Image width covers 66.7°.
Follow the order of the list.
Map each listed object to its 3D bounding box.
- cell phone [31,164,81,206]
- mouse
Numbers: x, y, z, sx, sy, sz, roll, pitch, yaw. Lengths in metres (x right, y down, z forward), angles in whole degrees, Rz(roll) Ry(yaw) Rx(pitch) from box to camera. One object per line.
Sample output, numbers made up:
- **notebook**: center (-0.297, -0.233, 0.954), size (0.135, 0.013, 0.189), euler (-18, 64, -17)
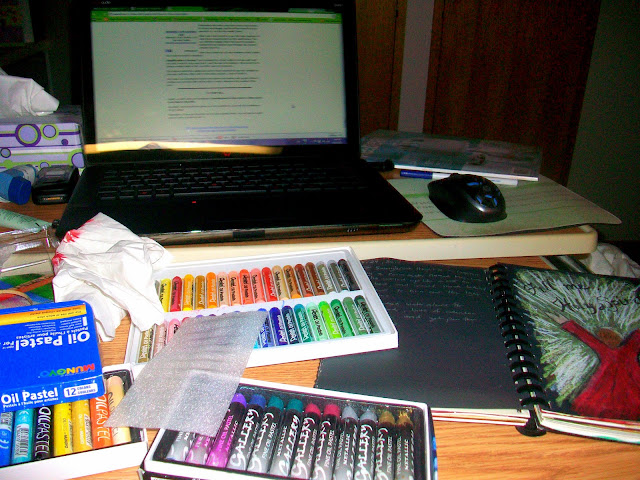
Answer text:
- **cell phone**: center (-0.459, -0.090, 0.859), size (0.086, 0.051, 0.110), euler (-13, 13, -12)
- **mouse**: center (0.242, -0.088, 0.789), size (0.076, 0.038, 0.104), euler (-5, 32, -20)
